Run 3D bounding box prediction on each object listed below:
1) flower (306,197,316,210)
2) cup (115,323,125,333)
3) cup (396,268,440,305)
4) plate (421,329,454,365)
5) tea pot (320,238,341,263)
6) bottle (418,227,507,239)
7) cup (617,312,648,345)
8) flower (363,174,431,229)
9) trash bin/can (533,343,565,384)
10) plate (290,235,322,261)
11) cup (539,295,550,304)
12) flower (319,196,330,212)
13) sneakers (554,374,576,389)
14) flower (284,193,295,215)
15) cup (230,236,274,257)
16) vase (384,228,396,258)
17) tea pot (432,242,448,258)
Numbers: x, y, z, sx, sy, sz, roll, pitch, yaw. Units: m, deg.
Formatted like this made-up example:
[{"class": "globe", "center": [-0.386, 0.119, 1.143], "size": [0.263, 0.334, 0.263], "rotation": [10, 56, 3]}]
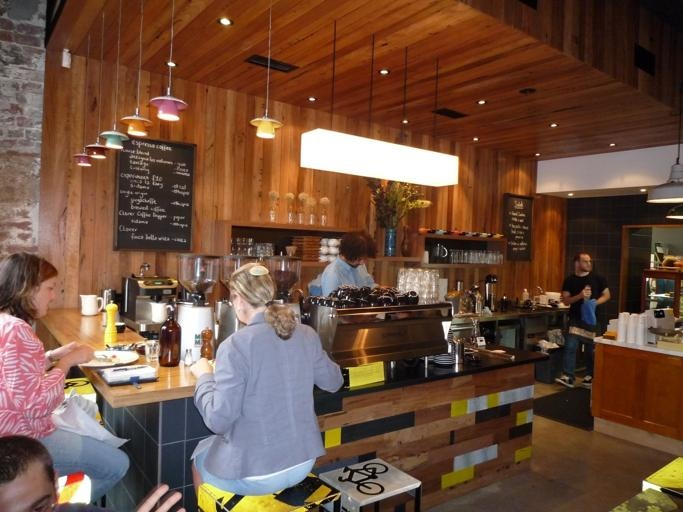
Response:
[{"class": "flower", "center": [-0.315, -0.556, 5.563], "size": [0.118, 0.138, 0.111], "rotation": [3, 17, 5]}, {"class": "cup", "center": [-1.674, 0.548, 3.937], "size": [0.067, 0.040, 0.064], "rotation": [2, 6, 0]}, {"class": "cup", "center": [0.569, 0.228, 3.908], "size": [0.280, 0.255, 0.270], "rotation": [0, -2, 0]}, {"class": "plate", "center": [0.711, 0.689, 3.816], "size": [0.194, 0.204, 0.190], "rotation": [1, 0, 19]}, {"class": "tea pot", "center": [-0.118, -0.049, 5.382], "size": [0.275, 0.251, 0.089], "rotation": [2, -1, -2]}, {"class": "bottle", "center": [1.553, -0.283, 6.881], "size": [1.523, 0.138, 0.248], "rotation": [-2, 6, -37]}, {"class": "cup", "center": [2.776, 0.696, 4.972], "size": [0.302, 0.378, 0.303], "rotation": [0, -4, 0]}, {"class": "flower", "center": [0.677, -0.619, 6.327], "size": [0.784, 0.603, 0.660], "rotation": [2, 2, 14]}, {"class": "trash bin/can", "center": [2.734, 1.400, 6.765], "size": [0.467, 0.472, 0.212], "rotation": [0, 6, -18]}, {"class": "plate", "center": [-0.349, -0.053, 5.554], "size": [0.343, 0.312, 0.242], "rotation": [-1, 0, -40]}, {"class": "cup", "center": [2.964, 0.643, 7.614], "size": [0.132, 0.131, 0.129], "rotation": [2, 5, 0]}, {"class": "flower", "center": [-0.188, -0.571, 5.735], "size": [0.143, 0.186, 0.137], "rotation": [1, -1, -6]}, {"class": "sneakers", "center": [2.845, 1.602, 6.642], "size": [0.103, 0.110, 0.271], "rotation": [3, 8, -34]}, {"class": "flower", "center": [-0.549, -0.517, 5.560], "size": [0.105, 0.301, 0.219], "rotation": [1, 5, -6]}, {"class": "cup", "center": [-0.881, -0.069, 5.017], "size": [0.351, 0.119, 0.256], "rotation": [1, -1, 20]}, {"class": "vase", "center": [0.576, -0.158, 6.084], "size": [0.143, 0.329, 0.099], "rotation": [0, 6, -14]}, {"class": "tea pot", "center": [1.273, -0.054, 6.608], "size": [0.286, 0.164, 0.110], "rotation": [-2, 7, -39]}]
